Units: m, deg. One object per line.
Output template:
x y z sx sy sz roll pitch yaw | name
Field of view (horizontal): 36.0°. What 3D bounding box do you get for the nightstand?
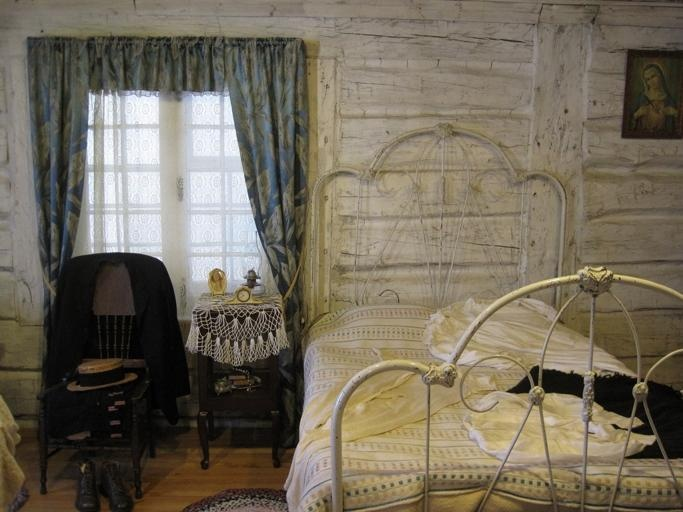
-0.665 0.770 6.723 0.618 1.053 0.458 -2 6 -4 | nightstand
